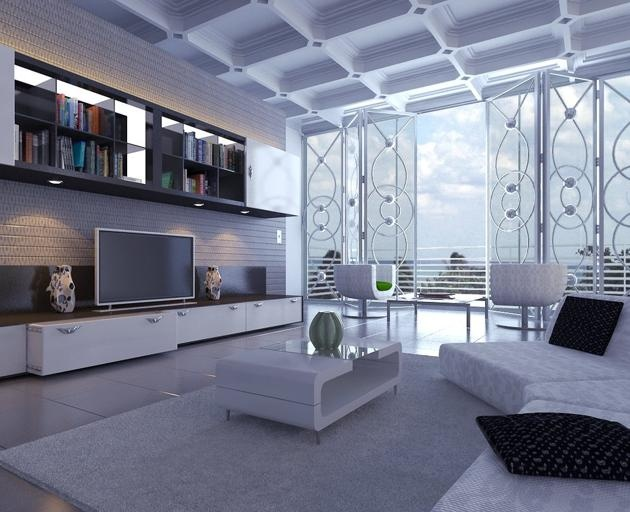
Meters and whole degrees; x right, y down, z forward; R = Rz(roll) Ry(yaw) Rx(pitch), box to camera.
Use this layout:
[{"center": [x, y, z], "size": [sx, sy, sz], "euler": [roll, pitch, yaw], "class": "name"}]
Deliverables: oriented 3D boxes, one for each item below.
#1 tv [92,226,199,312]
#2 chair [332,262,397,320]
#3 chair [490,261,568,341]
[{"center": [-1.658, 0.142, 4.296], "size": [0.031, 0.532, 0.859], "euler": [0, -1, 28], "class": "tv"}, {"center": [0.745, 0.418, 6.455], "size": [0.728, 0.895, 0.930], "euler": [-3, -4, 32], "class": "chair"}, {"center": [2.449, 0.472, 5.442], "size": [0.936, 0.983, 0.796], "euler": [0, -2, 14], "class": "chair"}]
